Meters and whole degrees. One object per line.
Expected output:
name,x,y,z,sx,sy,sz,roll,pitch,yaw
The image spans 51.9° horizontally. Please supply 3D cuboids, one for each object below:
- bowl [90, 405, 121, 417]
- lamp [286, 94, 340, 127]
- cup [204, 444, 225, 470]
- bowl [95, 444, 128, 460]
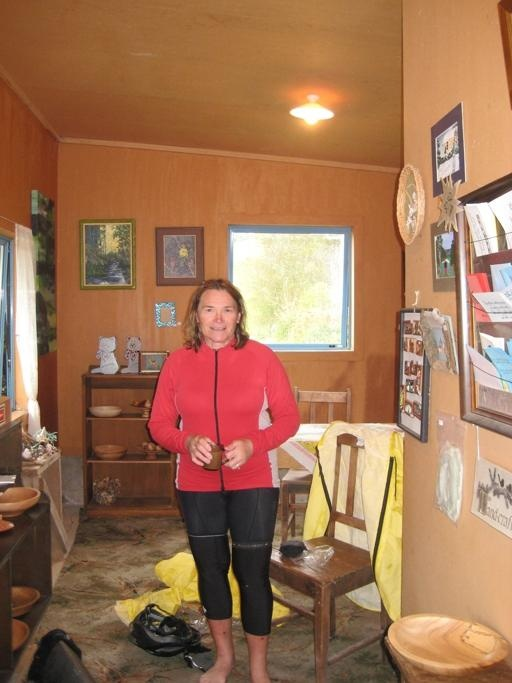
bowl,-1.302,0.603,4.538,0.244,0.083,0.236,0,-1,0
lamp,0.399,-1.559,3.584,0.182,0.118,0.189,2,1,-9
cup,-0.121,0.367,1.666,0.047,0.091,0.105,-1,-1,17
bowl,-1.256,0.948,4.512,0.225,0.108,0.256,1,-2,-39
